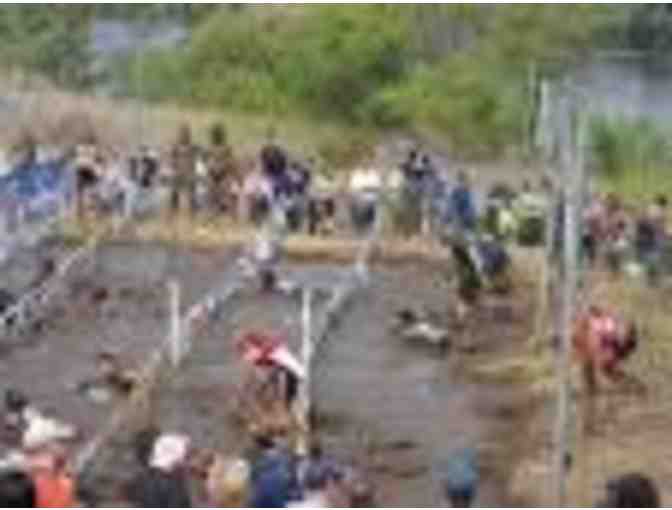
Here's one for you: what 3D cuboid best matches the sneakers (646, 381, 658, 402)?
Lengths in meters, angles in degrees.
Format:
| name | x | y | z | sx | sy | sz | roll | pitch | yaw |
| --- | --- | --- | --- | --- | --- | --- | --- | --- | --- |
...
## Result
| name | x | y | z | sx | sy | sz | roll | pitch | yaw |
| --- | --- | --- | --- | --- | --- | --- | --- | --- | --- |
| sneakers | 6.803 | 2.923 | 26.526 | 0.186 | 0.464 | 0.172 | 3 | 12 | 15 |

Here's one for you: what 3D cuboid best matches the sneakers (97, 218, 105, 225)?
| name | x | y | z | sx | sy | sz | roll | pitch | yaw |
| --- | --- | --- | --- | --- | --- | --- | --- | --- | --- |
| sneakers | -6.876 | -0.946 | 35.807 | 0.165 | 0.311 | 0.202 | 1 | 6 | -9 |

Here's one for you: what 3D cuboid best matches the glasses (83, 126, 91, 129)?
| name | x | y | z | sx | sy | sz | roll | pitch | yaw |
| --- | --- | --- | --- | --- | --- | --- | --- | --- | --- |
| glasses | -7.001 | -3.534 | 34.541 | 0.120 | 0.102 | 0.188 | 6 | 9 | 24 |

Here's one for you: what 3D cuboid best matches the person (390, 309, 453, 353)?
| name | x | y | z | sx | sy | sz | roll | pitch | yaw |
| --- | --- | --- | --- | --- | --- | --- | --- | --- | --- |
| person | 2.066 | 1.893 | 29.987 | 1.623 | 0.815 | 0.711 | 23 | 49 | 33 |

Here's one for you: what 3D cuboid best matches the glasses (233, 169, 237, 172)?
| name | x | y | z | sx | sy | sz | roll | pitch | yaw |
| --- | --- | --- | --- | --- | --- | --- | --- | --- | --- |
| glasses | -2.947 | -2.412 | 35.804 | 0.073 | 0.088 | 0.032 | -1 | 1 | 19 |

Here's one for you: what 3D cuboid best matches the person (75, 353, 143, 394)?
| name | x | y | z | sx | sy | sz | roll | pitch | yaw |
| --- | --- | --- | --- | --- | --- | --- | --- | --- | --- |
| person | -5.134 | 2.693 | 27.829 | 1.472 | 0.977 | 0.802 | 6 | 9 | 27 |

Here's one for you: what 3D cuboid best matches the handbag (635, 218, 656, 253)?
| name | x | y | z | sx | sy | sz | roll | pitch | yaw |
| --- | --- | --- | --- | --- | --- | --- | --- | --- | --- |
| handbag | 7.805 | -0.466 | 31.550 | 0.525 | 0.857 | 0.794 | -1 | -3 | 21 |

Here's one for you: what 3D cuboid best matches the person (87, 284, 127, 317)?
| name | x | y | z | sx | sy | sz | roll | pitch | yaw |
| --- | --- | --- | --- | --- | --- | --- | --- | --- | --- |
| person | -5.852 | 1.149 | 31.187 | 0.881 | 0.647 | 0.607 | 1 | 8 | -9 |

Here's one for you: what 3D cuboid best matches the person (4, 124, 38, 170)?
| name | x | y | z | sx | sy | sz | roll | pitch | yaw |
| --- | --- | --- | --- | --- | --- | --- | --- | --- | --- |
| person | -8.877 | -3.001 | 34.667 | 0.778 | 1.251 | 1.116 | -1 | 8 | -16 |

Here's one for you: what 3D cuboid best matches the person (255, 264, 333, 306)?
| name | x | y | z | sx | sy | sz | roll | pitch | yaw |
| --- | --- | --- | --- | --- | --- | --- | --- | --- | --- |
| person | -1.308 | 0.876 | 32.226 | 1.550 | 0.845 | 0.577 | 7 | 16 | 25 |

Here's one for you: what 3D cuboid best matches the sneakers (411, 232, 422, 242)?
| name | x | y | z | sx | sy | sz | roll | pitch | yaw |
| --- | --- | --- | --- | --- | --- | --- | --- | --- | --- |
| sneakers | 2.269 | -0.483 | 34.949 | 0.189 | 0.284 | 0.140 | -5 | 1 | 4 |

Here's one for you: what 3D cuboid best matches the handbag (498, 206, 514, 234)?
| name | x | y | z | sx | sy | sz | roll | pitch | yaw |
| --- | --- | --- | --- | --- | --- | --- | --- | --- | --- |
| handbag | 4.582 | -0.920 | 33.349 | 0.575 | 0.754 | 0.349 | 1 | 16 | 12 |

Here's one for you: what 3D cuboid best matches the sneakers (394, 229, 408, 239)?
| name | x | y | z | sx | sy | sz | roll | pitch | yaw |
| --- | --- | --- | --- | --- | --- | --- | --- | --- | --- |
| sneakers | 1.844 | -0.554 | 35.003 | 0.410 | 0.219 | 0.244 | 3 | 8 | 10 |

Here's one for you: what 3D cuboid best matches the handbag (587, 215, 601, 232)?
| name | x | y | z | sx | sy | sz | roll | pitch | yaw |
| --- | --- | --- | --- | --- | --- | --- | --- | --- | --- |
| handbag | 6.710 | -0.787 | 31.871 | 0.296 | 0.380 | 0.341 | 10 | 16 | 41 |
